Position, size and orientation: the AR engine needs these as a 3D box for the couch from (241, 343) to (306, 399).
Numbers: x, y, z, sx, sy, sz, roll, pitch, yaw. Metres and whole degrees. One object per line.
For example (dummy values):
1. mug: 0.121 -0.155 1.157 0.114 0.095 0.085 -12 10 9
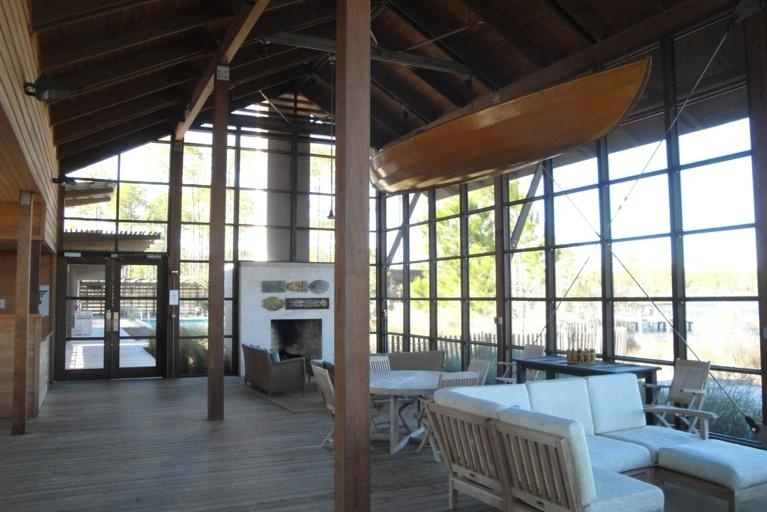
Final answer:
1. couch: -2.338 2.320 12.617 0.855 0.879 1.877 5 -5 -30
